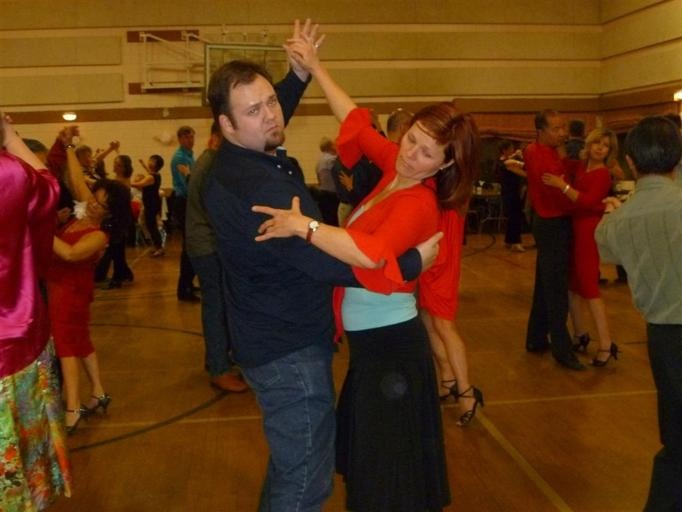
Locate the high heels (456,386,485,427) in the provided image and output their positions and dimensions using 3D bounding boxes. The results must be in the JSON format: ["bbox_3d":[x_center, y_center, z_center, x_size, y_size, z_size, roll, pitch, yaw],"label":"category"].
[{"bbox_3d":[0.787,0.891,3.241,0.152,0.335,0.111,5,23,6],"label":"high heels"}]

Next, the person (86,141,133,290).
[{"bbox_3d":[-2.910,-0.411,6.855,0.463,1.868,0.615,15,23,11],"label":"person"}]

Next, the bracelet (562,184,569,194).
[{"bbox_3d":[1.606,-0.479,3.804,0.011,0.051,0.050,20,0,-4],"label":"bracelet"}]

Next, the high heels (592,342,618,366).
[{"bbox_3d":[2.008,0.750,4.051,0.250,0.137,0.089,-21,1,-17],"label":"high heels"}]

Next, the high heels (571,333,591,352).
[{"bbox_3d":[1.953,0.688,4.354,0.078,0.115,0.245,-4,13,4],"label":"high heels"}]

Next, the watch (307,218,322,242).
[{"bbox_3d":[-0.092,-0.086,1.732,0.036,0.059,0.062,21,53,9],"label":"watch"}]

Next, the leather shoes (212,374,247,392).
[{"bbox_3d":[-0.779,0.879,3.768,0.203,0.086,0.121,1,15,19],"label":"leather shoes"}]

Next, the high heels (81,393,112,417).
[{"bbox_3d":[-1.604,0.965,3.423,0.249,0.142,0.088,-4,-3,9],"label":"high heels"}]

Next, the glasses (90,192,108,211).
[{"bbox_3d":[-1.446,-0.332,3.228,0.078,0.111,0.047,23,2,13],"label":"glasses"}]
